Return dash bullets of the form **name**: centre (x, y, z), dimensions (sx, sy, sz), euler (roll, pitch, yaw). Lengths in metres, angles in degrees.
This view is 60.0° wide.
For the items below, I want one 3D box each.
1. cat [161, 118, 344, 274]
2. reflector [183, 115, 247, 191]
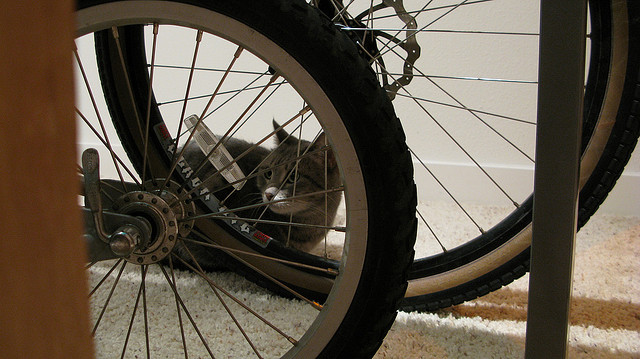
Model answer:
- **cat**: centre (-0.135, 0.033, 1.881), dimensions (0.438, 0.688, 0.236), euler (2, -15, -1)
- **reflector**: centre (-0.360, -0.082, 1.880), dimensions (0.084, 0.321, 0.075), euler (-32, 5, 4)
